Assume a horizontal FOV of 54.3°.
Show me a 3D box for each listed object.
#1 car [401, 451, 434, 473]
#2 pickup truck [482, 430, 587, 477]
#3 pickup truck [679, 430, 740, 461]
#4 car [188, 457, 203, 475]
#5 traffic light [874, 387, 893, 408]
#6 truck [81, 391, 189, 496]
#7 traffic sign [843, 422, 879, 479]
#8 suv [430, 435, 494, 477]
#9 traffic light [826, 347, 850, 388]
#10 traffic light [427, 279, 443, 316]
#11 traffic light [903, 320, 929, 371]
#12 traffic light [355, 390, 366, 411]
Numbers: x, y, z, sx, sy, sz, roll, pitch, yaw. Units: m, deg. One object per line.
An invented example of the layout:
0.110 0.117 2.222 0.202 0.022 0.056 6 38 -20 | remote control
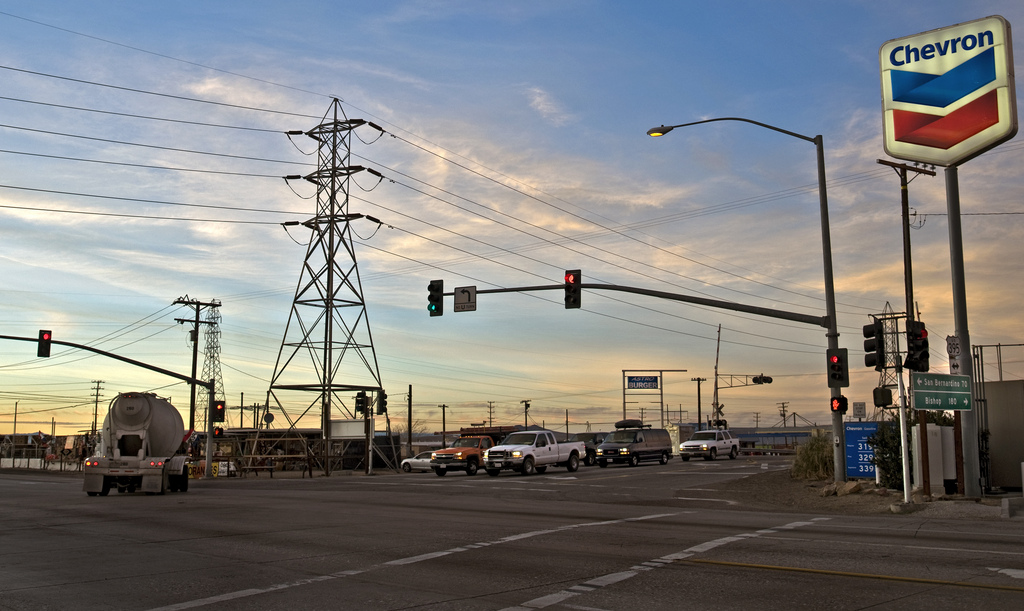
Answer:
-6.317 10.530 66.922 2.011 1.520 4.947 1 -13 -7 | car
1.573 8.258 56.027 5.964 2.831 2.122 12 -19 -44 | pickup truck
14.471 9.910 70.594 2.262 1.323 4.425 -8 -14 32 | pickup truck
-21.744 11.040 68.281 0.880 1.547 6.964 4 -13 -16 | car
13.899 3.295 36.295 0.576 0.782 1.241 -5 -14 17 | traffic light
-15.941 5.884 42.025 3.909 4.167 1.890 5 -15 -21 | truck
16.350 6.674 45.473 0.933 2.586 1.549 10 -18 -35 | traffic sign
-2.714 8.537 57.286 2.133 1.411 3.649 -6 -11 23 | suv
13.459 2.519 40.089 0.813 1.656 0.636 -9 -16 28 | traffic light
-3.266 -0.270 44.254 0.569 1.760 1.341 2 -14 -9 | traffic light
15.038 1.484 36.121 0.787 2.028 0.753 -6 -15 19 | traffic light
-9.916 6.367 65.974 0.456 1.525 1.277 4 -15 -18 | traffic light
